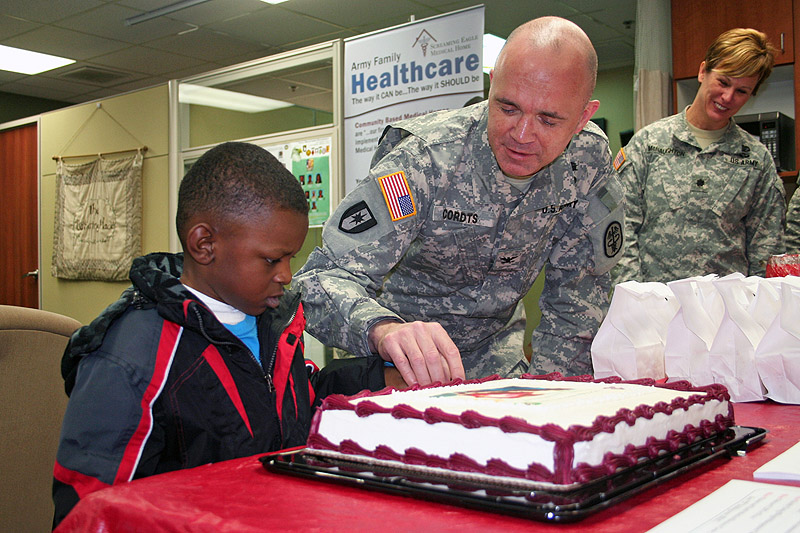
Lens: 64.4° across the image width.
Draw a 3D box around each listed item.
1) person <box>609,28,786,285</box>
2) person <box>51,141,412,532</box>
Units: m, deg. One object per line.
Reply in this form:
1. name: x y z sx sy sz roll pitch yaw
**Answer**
1. person: 1.395 -0.502 2.976 0.754 1.127 0.367 0 3 20
2. person: -0.543 0.197 2.013 0.826 1.334 0.954 -1 3 26
